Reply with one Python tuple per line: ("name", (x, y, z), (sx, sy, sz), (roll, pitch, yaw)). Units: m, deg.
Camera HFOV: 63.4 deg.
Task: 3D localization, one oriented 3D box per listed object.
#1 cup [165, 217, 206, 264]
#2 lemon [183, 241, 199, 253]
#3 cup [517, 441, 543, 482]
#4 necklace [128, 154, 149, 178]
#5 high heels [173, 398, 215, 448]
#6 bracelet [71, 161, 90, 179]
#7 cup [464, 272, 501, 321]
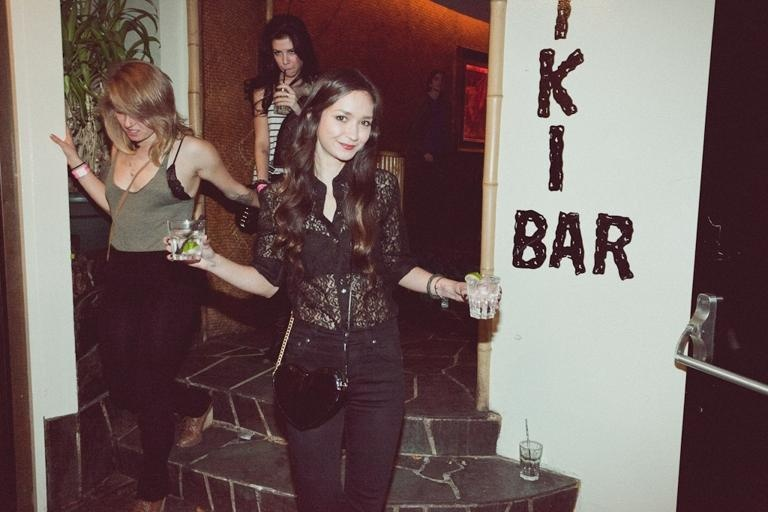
("cup", (-1.006, -0.075, 3.232), (0.203, 0.239, 0.203), (0, -8, 0))
("lemon", (-0.986, -0.047, 3.155), (0.052, 0.053, 0.021), (-3, 4, -15))
("cup", (0.985, 1.383, 4.264), (0.160, 0.266, 0.156), (3, 2, 0))
("necklace", (-1.560, -0.569, 3.953), (0.113, 0.028, 0.091), (-41, -9, 24))
("high heels", (-1.391, 1.239, 4.642), (0.174, 0.150, 0.394), (3, 13, 20))
("bracelet", (-2.016, -0.577, 4.146), (0.106, 0.033, 0.106), (-31, -42, 0))
("cup", (0.484, 0.217, 3.312), (0.212, 0.240, 0.223), (0, 4, 0))
